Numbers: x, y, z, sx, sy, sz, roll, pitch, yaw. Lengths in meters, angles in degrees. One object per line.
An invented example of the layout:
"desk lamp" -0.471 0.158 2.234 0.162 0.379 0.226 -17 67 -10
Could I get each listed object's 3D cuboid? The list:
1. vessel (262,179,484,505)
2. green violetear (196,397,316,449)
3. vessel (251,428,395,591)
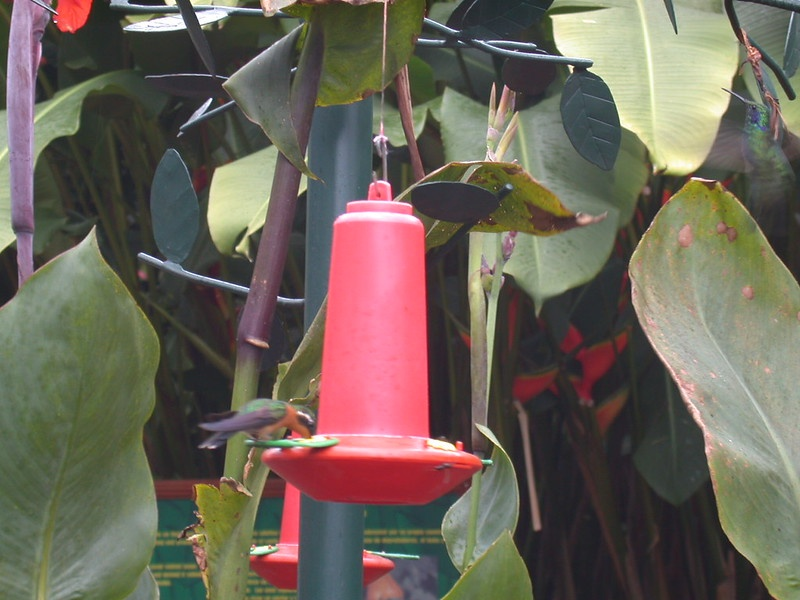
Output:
"vessel" 0.044 0.060 2.918 0.279 0.520 0.320 1 -6 -1
"green violetear" -0.202 0.175 2.786 0.194 0.092 0.068 1 -7 -11
"vessel" -0.131 0.364 3.058 0.203 0.260 0.261 -11 10 -12
